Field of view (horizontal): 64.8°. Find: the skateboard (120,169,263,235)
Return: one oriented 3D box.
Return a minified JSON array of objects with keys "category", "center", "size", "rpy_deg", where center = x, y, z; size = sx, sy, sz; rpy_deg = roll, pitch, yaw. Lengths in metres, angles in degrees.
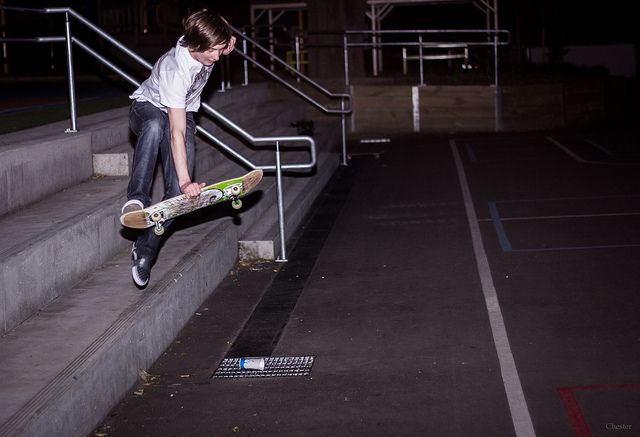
[{"category":"skateboard","center":[-1.380,-0.151,5.317],"size":[1.581,0.372,0.268],"rpy_deg":[-21,58,-23]}]
